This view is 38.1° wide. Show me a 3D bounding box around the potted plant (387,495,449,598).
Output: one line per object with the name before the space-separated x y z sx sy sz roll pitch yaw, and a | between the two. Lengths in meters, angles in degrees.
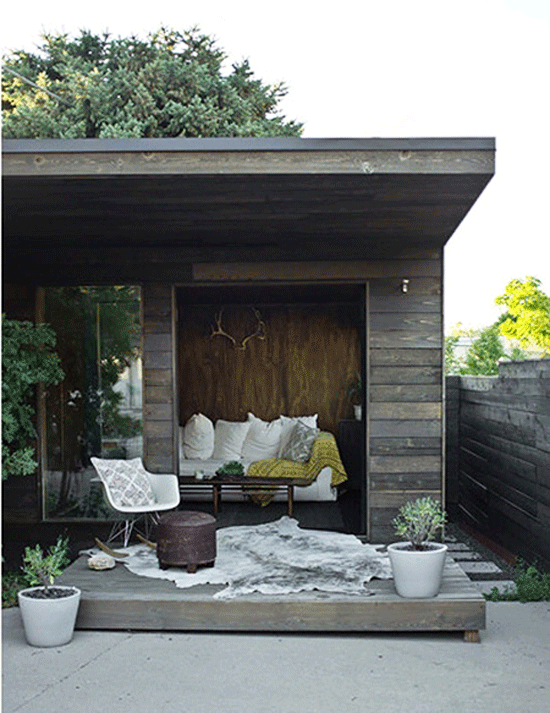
potted plant | 0.852 1.091 4.665 0.369 0.523 0.321 11 -15 -33

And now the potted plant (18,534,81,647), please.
potted plant | -1.283 1.293 4.508 0.338 0.613 0.342 0 -4 -13

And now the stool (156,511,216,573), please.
stool | -0.593 1.175 5.189 0.353 0.310 0.353 1 -2 -20

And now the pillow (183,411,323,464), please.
pillow | -0.439 1.017 9.110 2.167 0.764 0.817 0 -3 4

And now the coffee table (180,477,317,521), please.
coffee table | -0.317 1.202 7.530 1.283 0.662 0.648 0 -2 -8
